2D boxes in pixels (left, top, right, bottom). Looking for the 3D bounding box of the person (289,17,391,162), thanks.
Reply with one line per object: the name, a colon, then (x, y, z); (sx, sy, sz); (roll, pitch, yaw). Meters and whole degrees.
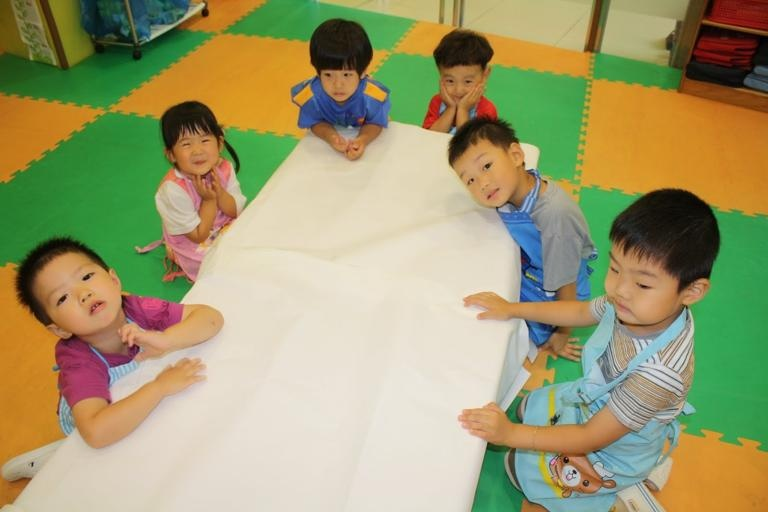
person: (-0.198, -0.865, 3.157); (0.574, 0.722, 0.826); (1, 60, 3)
